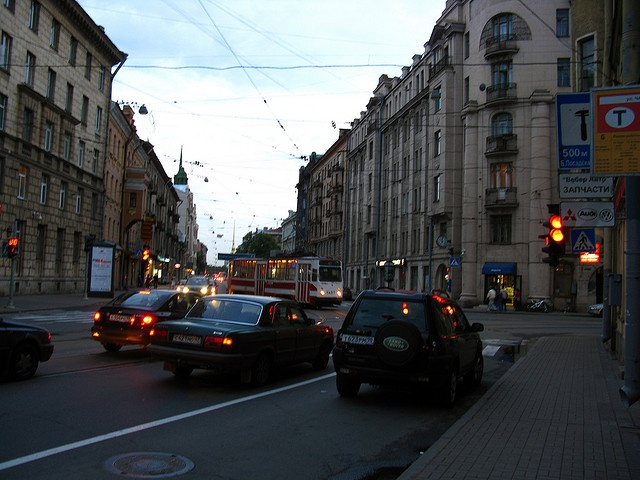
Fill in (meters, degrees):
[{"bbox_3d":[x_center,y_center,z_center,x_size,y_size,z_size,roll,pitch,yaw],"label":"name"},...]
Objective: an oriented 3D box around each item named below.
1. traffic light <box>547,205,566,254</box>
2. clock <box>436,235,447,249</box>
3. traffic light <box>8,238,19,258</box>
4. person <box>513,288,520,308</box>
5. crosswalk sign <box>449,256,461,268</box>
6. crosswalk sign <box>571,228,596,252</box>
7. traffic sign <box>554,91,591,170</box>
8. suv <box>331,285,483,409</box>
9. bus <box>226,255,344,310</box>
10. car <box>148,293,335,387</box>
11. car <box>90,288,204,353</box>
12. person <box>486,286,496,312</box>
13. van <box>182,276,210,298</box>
[{"bbox_3d":[6.262,-0.317,15.324,0.381,1.362,0.768,-3,-7,23],"label":"traffic light"},{"bbox_3d":[9.851,0.212,47.024,0.789,0.921,0.203,-1,7,-19],"label":"clock"},{"bbox_3d":[-14.113,0.392,26.643,0.418,0.885,0.740,4,-8,-31],"label":"traffic light"},{"bbox_3d":[14.565,4.442,42.670,0.471,1.585,0.765,-2,-7,19],"label":"person"},{"bbox_3d":[10.181,1.702,43.754,0.785,0.772,0.084,1,0,-28],"label":"crosswalk sign"},{"bbox_3d":[7.128,0.021,15.705,0.642,0.752,0.620,-1,1,-33],"label":"crosswalk sign"},{"bbox_3d":[4.055,-1.746,9.258,0.485,1.164,0.476,-2,-7,18],"label":"traffic sign"},{"bbox_3d":[1.973,2.046,11.586,1.575,1.470,3.027,-1,-2,23],"label":"suv"},{"bbox_3d":[-2.931,2.732,39.893,3.110,3.611,10.892,2,-4,-33],"label":"bus"},{"bbox_3d":[-1.240,2.035,12.764,1.697,1.372,3.948,1,-2,23],"label":"car"},{"bbox_3d":[-4.407,2.103,14.402,1.289,1.068,3.010,0,2,15],"label":"car"},{"bbox_3d":[12.417,4.292,41.829,0.636,1.700,2.661,-2,-8,17],"label":"person"},{"bbox_3d":[-6.489,2.463,30.772,1.256,1.392,2.959,-1,-9,-5],"label":"van"}]
